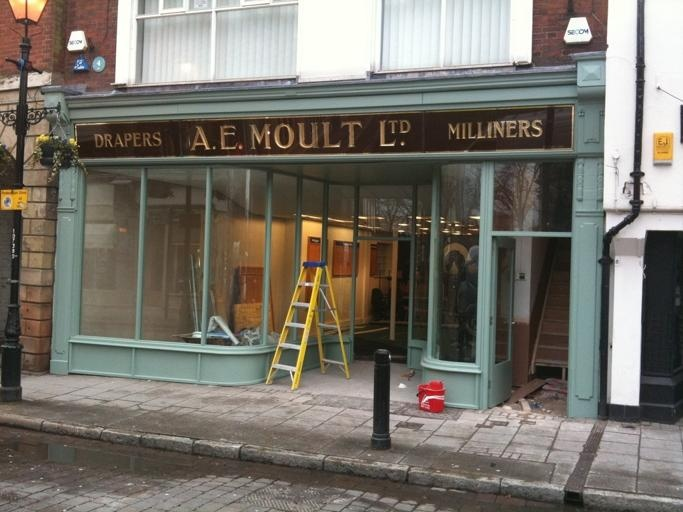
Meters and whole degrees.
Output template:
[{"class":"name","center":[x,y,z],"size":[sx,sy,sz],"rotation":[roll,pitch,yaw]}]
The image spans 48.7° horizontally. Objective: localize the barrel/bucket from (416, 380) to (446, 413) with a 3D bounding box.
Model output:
[{"class":"barrel/bucket","center":[1.462,2.193,11.782],"size":[0.460,0.460,0.388],"rotation":[-2,8,-14]}]

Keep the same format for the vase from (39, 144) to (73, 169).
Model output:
[{"class":"vase","center":[-4.957,-1.771,13.296],"size":[0.488,0.351,0.501],"rotation":[0,-2,-23]}]

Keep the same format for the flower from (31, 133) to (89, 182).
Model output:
[{"class":"flower","center":[-5.115,-1.848,13.442],"size":[0.571,0.592,0.713],"rotation":[-5,14,-26]}]
